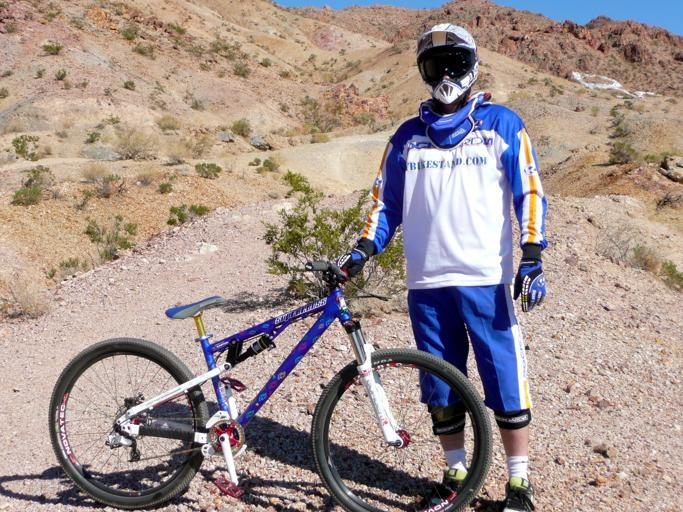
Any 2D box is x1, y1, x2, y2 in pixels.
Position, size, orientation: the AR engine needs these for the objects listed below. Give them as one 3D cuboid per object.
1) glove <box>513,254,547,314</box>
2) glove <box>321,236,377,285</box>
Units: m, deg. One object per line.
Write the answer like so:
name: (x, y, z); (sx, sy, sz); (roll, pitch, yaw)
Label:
glove: (2.126, 0.331, 7.906); (0.383, 0.178, 0.585); (3, 85, 5)
glove: (0.132, 0.068, 7.988); (0.611, 0.176, 0.387); (-36, 68, -21)
